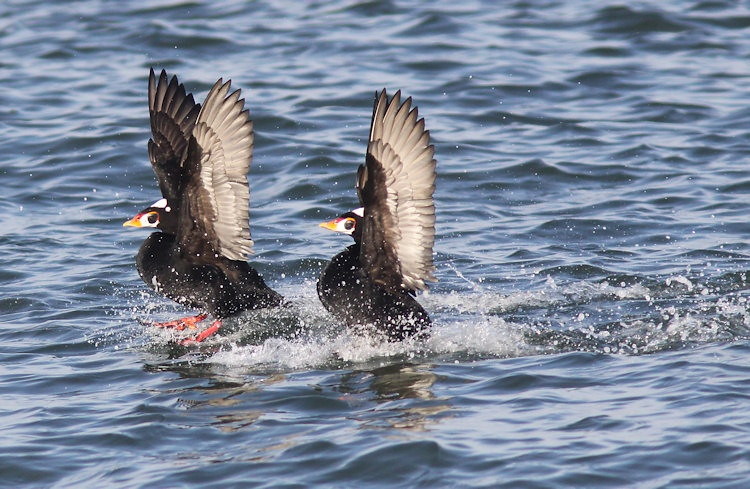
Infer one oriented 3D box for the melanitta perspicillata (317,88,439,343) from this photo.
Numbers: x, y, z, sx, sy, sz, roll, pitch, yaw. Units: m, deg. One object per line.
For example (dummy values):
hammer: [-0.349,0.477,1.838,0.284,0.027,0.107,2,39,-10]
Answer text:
melanitta perspicillata: [0.178,-0.264,11.622,1.174,2.835,1.004,17,34,22]
